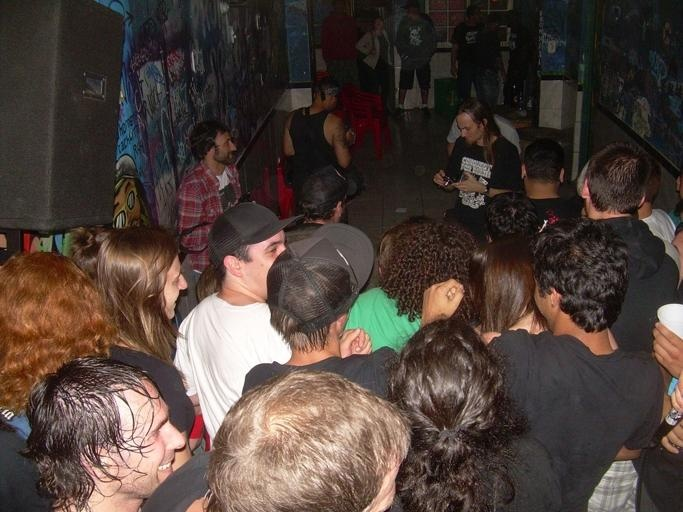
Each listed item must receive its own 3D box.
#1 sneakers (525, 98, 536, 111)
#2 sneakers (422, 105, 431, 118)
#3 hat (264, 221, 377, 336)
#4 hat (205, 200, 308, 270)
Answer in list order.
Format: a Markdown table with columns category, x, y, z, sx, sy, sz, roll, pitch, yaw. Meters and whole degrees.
| category | x | y | z | sx | sy | sz | roll | pitch | yaw |
| --- | --- | --- | --- | --- | --- | --- | --- | --- | --- |
| sneakers | 4.427 | -3.503 | 12.018 | 0.170 | 0.262 | 0.079 | 0 | -13 | 42 |
| sneakers | 2.179 | -3.689 | 13.192 | 0.157 | 0.153 | 0.384 | 1 | 33 | -5 |
| hat | -0.071 | 0.048 | 2.810 | 0.386 | 0.437 | 1.380 | 1 | 12 | 8 |
| hat | -0.525 | -0.119 | 2.889 | 0.392 | 0.213 | 0.290 | -31 | 7 | 5 |
